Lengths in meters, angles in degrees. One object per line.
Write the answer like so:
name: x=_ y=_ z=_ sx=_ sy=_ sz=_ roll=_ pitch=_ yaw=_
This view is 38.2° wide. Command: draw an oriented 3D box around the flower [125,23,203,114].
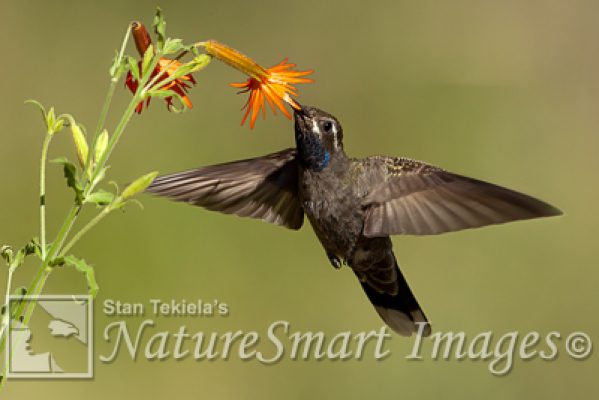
flower: x=-0.430 y=-0.359 z=2.667 sx=0.204 sy=0.301 sz=0.340 roll=6 pitch=-34 yaw=-11
